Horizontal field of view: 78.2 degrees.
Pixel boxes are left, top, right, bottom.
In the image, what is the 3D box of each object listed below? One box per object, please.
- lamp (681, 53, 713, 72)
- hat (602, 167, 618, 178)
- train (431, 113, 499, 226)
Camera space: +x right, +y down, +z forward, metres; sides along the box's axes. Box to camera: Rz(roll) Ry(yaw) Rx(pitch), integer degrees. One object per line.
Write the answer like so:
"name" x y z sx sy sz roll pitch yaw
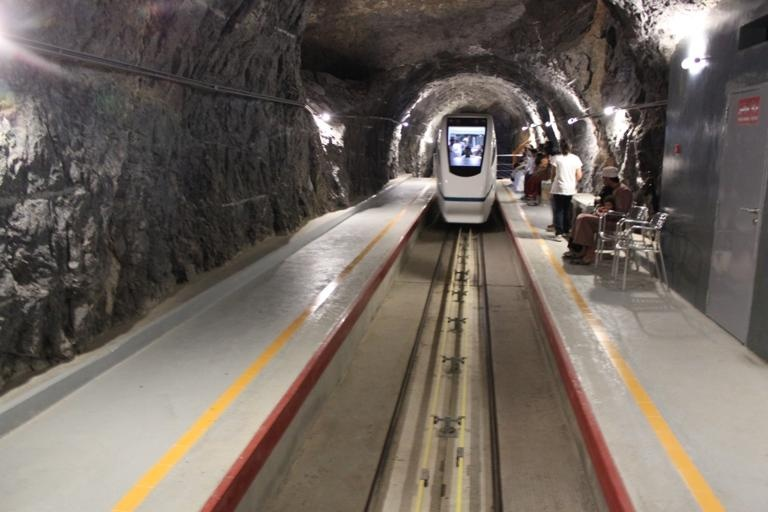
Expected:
"lamp" 4.402 -2.735 6.737 0.226 0.264 0.627 3 10 15
"hat" 3.821 -1.444 8.080 0.178 0.114 0.228 -4 18 -4
"train" 2.443 -2.612 14.138 1.660 3.144 1.129 1 10 5
